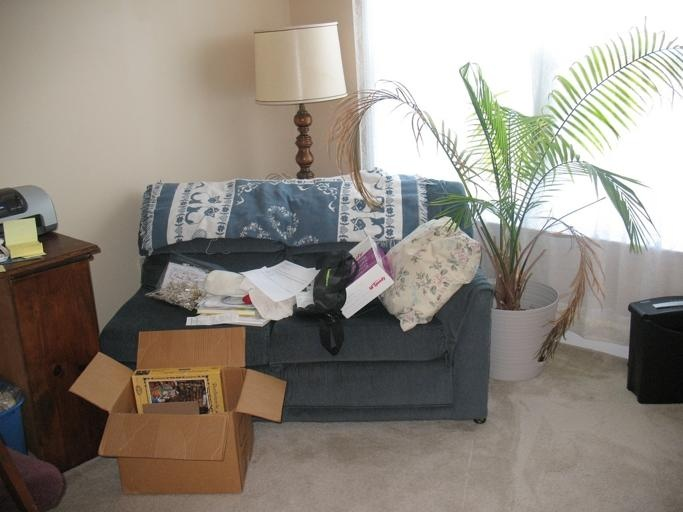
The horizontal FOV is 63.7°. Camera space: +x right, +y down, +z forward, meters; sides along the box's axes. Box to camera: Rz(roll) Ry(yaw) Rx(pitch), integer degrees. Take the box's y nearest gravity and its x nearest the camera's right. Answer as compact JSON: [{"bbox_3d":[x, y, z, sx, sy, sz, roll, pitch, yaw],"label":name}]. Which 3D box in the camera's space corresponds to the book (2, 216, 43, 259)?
[{"bbox_3d":[-1.344,-0.079,2.338,0.157,0.178,0.170,-14,31,-33],"label":"book"}]

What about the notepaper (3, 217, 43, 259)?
[{"bbox_3d":[-1.343,-0.082,2.343,0.157,0.176,0.170,-15,33,-33],"label":"notepaper"}]

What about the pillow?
[{"bbox_3d":[0.400,0.069,2.507,0.454,0.421,0.401,0,18,11],"label":"pillow"}]

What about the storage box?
[{"bbox_3d":[-0.678,0.660,2.416,0.879,0.575,0.674,-1,34,0],"label":"storage box"}]

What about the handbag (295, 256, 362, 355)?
[{"bbox_3d":[-0.060,0.220,2.537,0.264,0.368,0.374,1,18,12],"label":"handbag"}]
